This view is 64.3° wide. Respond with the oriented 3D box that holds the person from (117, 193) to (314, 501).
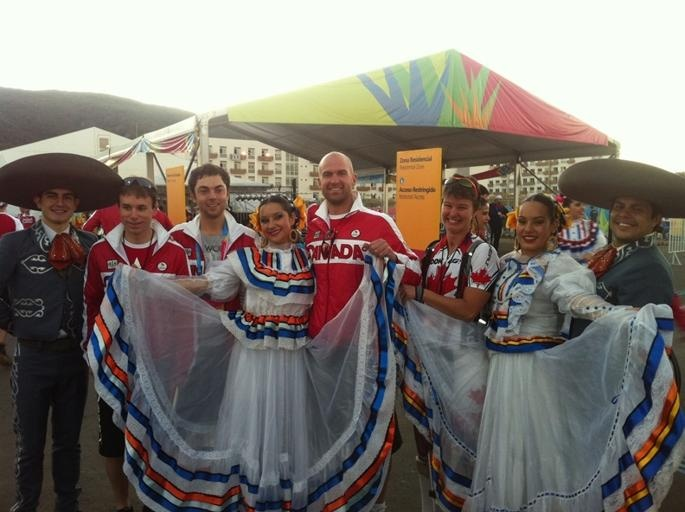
[{"bbox_3d":[-0.637,0.515,3.959,0.804,1.931,0.729,3,5,5],"label":"person"}]
